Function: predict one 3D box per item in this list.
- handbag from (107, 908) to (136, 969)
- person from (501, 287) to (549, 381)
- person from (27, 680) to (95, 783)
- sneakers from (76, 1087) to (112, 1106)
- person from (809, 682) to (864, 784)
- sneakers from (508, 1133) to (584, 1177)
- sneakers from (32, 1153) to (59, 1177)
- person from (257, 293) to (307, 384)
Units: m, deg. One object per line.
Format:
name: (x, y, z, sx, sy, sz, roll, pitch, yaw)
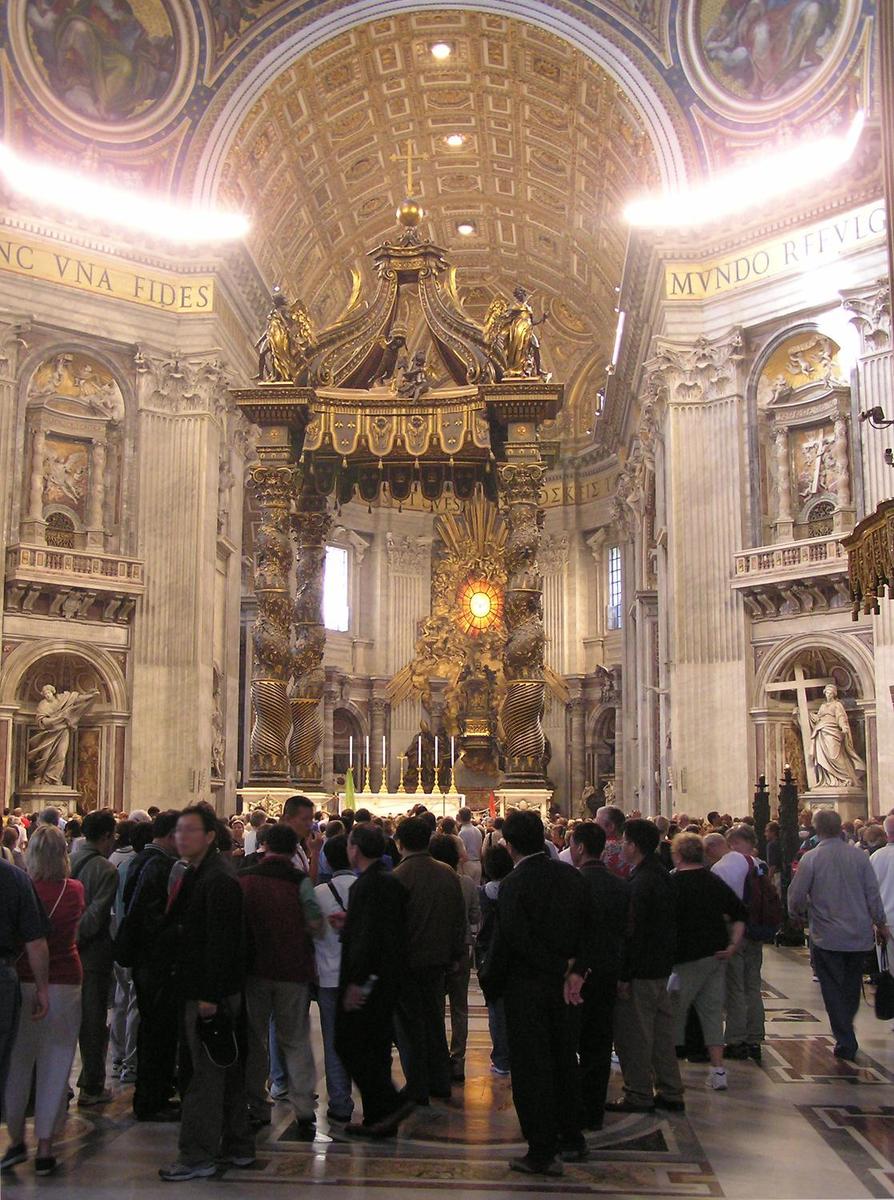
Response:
handbag: (-1.409, 1.517, 5.698, 0.091, 0.271, 0.185, -1, -4, -4)
person: (0.863, -3.024, 14.651, 0.511, 1.407, 0.995, -2, -11, 4)
person: (-5.714, 2.073, 19.155, 0.495, 1.484, 0.931, -9, -14, 37)
sneakers: (-1.751, 2.495, 6.443, 0.159, 0.073, 0.063, 1, -3, -3)
person: (5.372, 1.957, 17.890, 0.681, 1.430, 0.531, -4, -11, 16)
sneakers: (0.421, 2.272, 5.294, 0.247, 0.117, 0.412, -5, -12, 16)
sneakers: (-1.564, 2.218, 5.046, 0.046, 0.055, 0.124, 1, -4, 3)
person: (-1.875, -3.010, 15.083, 0.627, 1.282, 0.702, 0, -11, -6)
